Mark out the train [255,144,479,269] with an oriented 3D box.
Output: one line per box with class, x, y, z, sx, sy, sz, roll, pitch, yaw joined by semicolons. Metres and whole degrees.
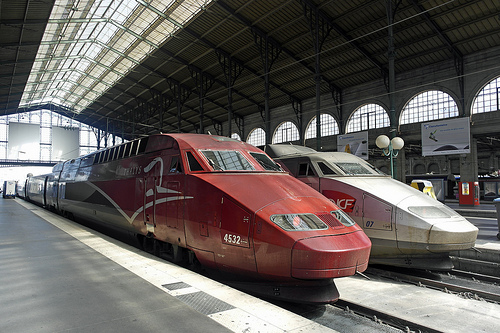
train;3.381;0.946;12.822;2.903;3.575;9.417;-9;11;-39
